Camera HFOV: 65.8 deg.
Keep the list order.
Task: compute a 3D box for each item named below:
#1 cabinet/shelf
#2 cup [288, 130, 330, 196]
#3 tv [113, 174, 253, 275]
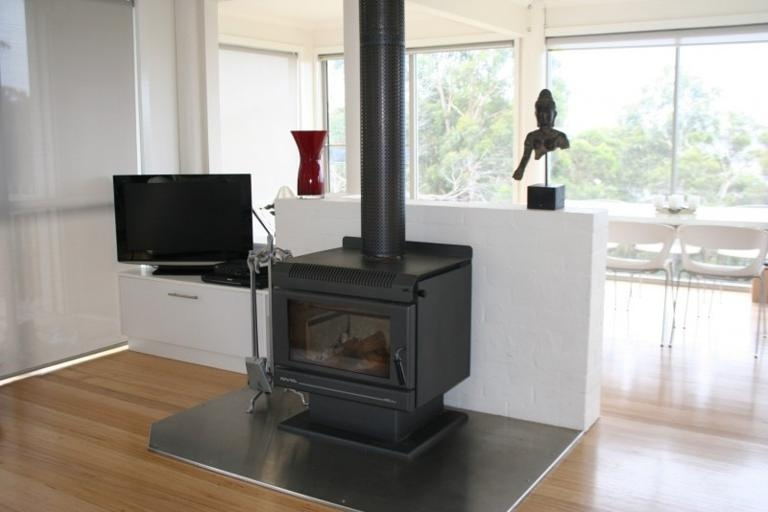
[{"bbox_3d":[-1.414,0.556,4.932,1.449,0.650,0.780,5,0,33],"label":"cabinet/shelf"},{"bbox_3d":[-0.530,-0.674,4.333,0.239,0.457,0.246,-1,15,0],"label":"cup"},{"bbox_3d":[-1.644,-0.278,4.871,0.852,0.577,0.121,1,5,5],"label":"tv"}]
